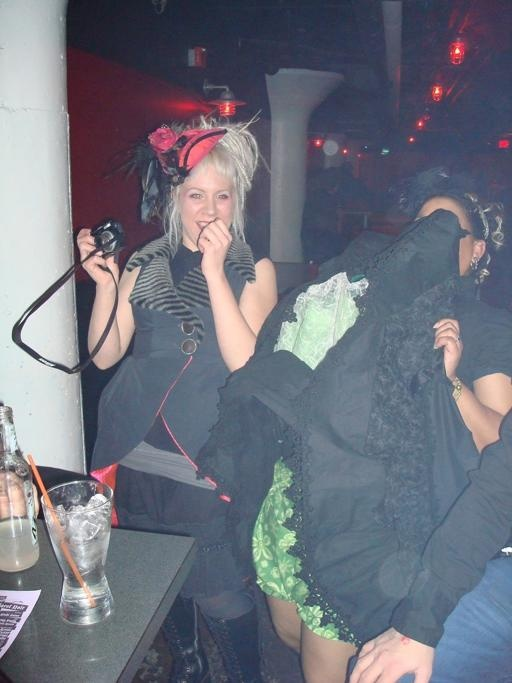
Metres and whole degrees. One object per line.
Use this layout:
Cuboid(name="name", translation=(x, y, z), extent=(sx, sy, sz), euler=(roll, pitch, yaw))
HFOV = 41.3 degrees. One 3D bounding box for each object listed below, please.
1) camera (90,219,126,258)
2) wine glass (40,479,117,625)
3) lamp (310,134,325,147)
Cuboid(name="camera", translation=(-0.376, -0.257, 1.710), extent=(0.079, 0.093, 0.103), euler=(-3, 14, -16))
Cuboid(name="wine glass", translation=(-0.306, 0.338, 1.181), extent=(0.108, 0.196, 0.232), euler=(-2, 13, -12))
Cuboid(name="lamp", translation=(1.276, -4.241, 14.399), extent=(0.294, 0.245, 0.143), euler=(-4, 17, -13))
